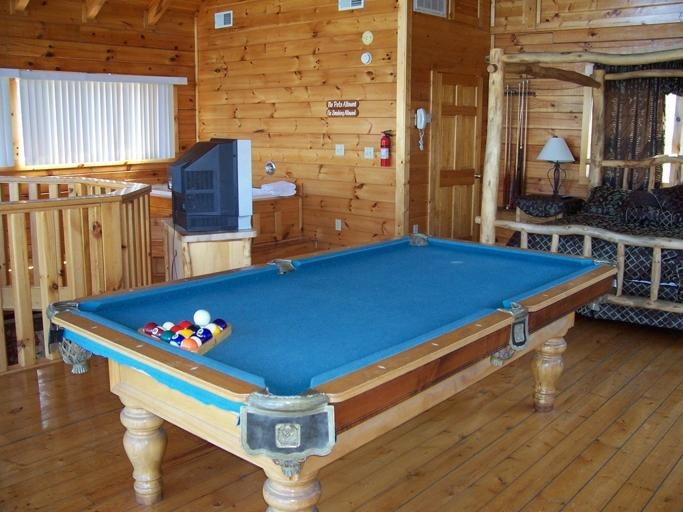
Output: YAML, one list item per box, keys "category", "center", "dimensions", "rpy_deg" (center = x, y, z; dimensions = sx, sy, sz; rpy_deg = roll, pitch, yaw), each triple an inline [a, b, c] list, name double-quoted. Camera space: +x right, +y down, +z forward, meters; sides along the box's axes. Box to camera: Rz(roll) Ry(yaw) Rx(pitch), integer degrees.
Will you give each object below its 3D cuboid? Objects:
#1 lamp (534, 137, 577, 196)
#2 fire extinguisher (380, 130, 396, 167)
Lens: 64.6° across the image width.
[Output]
- category: "lamp"
  center: [2.722, -1.114, 6.715]
  dimensions: [0.655, 0.679, 0.509]
  rpy_deg: [8, 16, 21]
- category: "fire extinguisher"
  center: [0.498, -1.209, 6.080]
  dimensions: [0.143, 0.408, 0.101]
  rpy_deg: [7, 16, 32]
